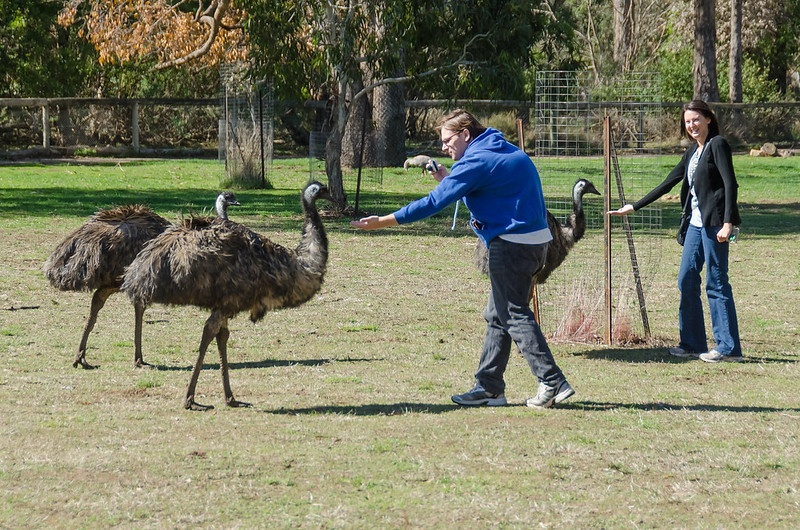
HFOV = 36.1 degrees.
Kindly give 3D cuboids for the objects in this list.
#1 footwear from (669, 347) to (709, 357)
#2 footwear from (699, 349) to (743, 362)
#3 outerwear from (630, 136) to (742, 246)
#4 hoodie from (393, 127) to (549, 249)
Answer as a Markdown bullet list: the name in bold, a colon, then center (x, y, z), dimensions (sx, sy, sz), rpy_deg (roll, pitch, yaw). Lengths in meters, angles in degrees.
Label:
- **footwear**: center (3.850, 1.173, 16.542), dimensions (0.396, 0.175, 0.158), rpy_deg (-1, 0, 17)
- **footwear**: center (4.239, 1.205, 16.208), dimensions (0.510, 0.209, 0.198), rpy_deg (4, -2, 6)
- **outerwear**: center (4.026, -0.959, 16.604), dimensions (1.408, 1.914, 1.551), rpy_deg (2, -2, -13)
- **hoodie**: center (0.887, -0.817, 14.332), dimensions (1.509, 1.382, 1.403), rpy_deg (-3, 9, 29)
